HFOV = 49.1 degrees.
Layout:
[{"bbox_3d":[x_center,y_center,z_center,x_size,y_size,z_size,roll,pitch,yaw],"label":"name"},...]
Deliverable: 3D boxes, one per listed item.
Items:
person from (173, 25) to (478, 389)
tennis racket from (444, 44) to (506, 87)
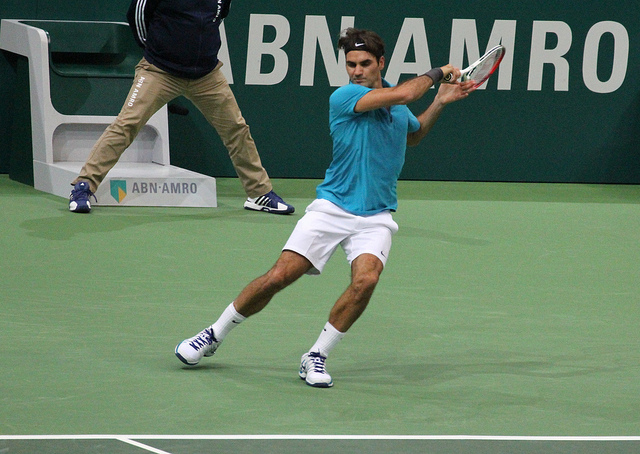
[{"bbox_3d":[0.104,-0.170,3.773,0.760,1.734,1.615,14,19,34],"label":"person"},{"bbox_3d":[1.034,-1.055,4.583,0.567,0.305,0.107,-16,50,-35],"label":"tennis racket"}]
